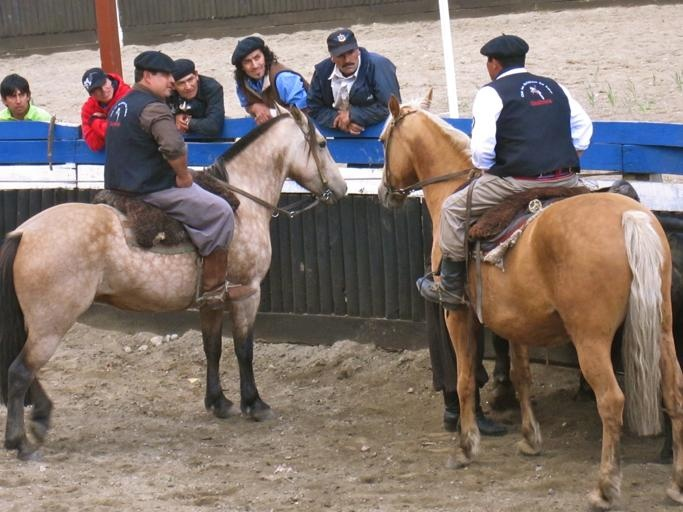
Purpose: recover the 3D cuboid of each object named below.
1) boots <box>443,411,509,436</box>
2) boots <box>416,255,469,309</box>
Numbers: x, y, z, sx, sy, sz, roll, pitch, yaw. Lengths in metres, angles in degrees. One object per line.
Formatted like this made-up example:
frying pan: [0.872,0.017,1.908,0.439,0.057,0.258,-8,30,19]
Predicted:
boots: [1.295,1.555,12.985,0.634,0.259,0.210,-2,9,11]
boots: [0.919,0.200,12.461,0.511,0.472,0.265,22,34,37]
